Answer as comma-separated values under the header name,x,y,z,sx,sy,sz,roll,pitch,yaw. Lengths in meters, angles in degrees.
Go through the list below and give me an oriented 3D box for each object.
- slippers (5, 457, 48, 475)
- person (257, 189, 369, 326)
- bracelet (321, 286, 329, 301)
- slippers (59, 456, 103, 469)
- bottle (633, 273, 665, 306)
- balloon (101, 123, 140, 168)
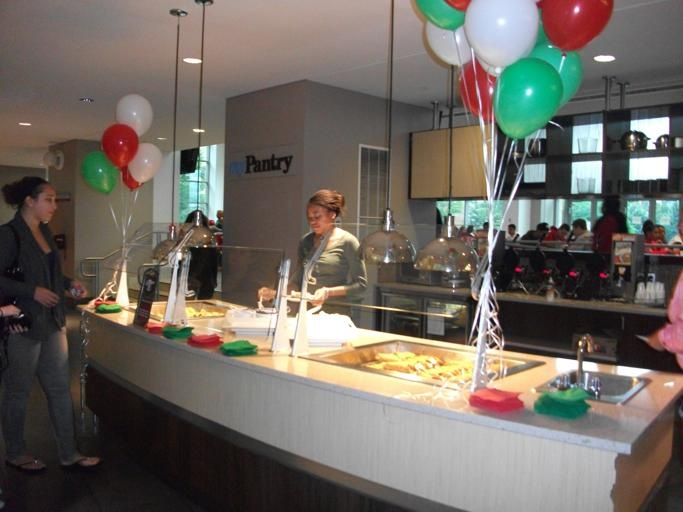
name,x,y,z,sx,sy,sz,roll,pitch,yaw
slippers,-2.071,1.335,3.473,0.251,0.109,0.130,1,4,14
person,-0.174,0.032,3.391,0.593,0.729,1.138,-12,6,3
bracelet,-0.103,0.239,3.258,0.056,0.063,0.059,-2,5,-21
slippers,-1.683,1.310,3.402,0.217,0.064,0.109,0,3,-1
bottle,2.540,0.274,4.385,0.238,0.254,0.241,2,-2,10
balloon,-1.844,-0.923,4.546,0.311,0.423,0.329,2,0,3
